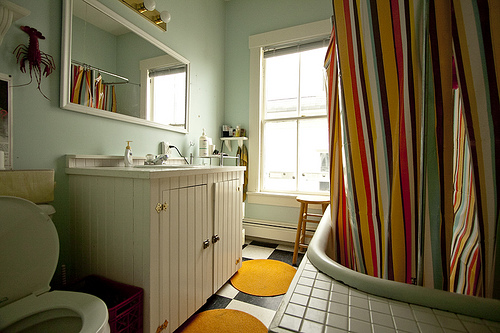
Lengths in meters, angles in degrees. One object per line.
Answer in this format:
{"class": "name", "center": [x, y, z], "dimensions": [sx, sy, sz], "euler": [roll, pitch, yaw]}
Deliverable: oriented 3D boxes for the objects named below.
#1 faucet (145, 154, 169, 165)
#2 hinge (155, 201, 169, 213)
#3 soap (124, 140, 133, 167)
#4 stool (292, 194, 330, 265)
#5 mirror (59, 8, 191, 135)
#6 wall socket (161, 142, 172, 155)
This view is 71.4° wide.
{"class": "faucet", "center": [-0.694, -0.056, 2.614], "dimensions": [0.120, 0.056, 0.087], "euler": [5, 2, 26]}
{"class": "hinge", "center": [-0.532, 0.241, 2.090], "dimensions": [0.010, 0.048, 0.071], "euler": [4, 6, 28]}
{"class": "soap", "center": [-0.885, -0.102, 2.531], "dimensions": [0.064, 0.184, 0.251], "euler": [-4, 12, -19]}
{"class": "stool", "center": [0.569, 0.569, 3.336], "dimensions": [0.337, 0.643, 0.399], "euler": [1, 1, 19]}
{"class": "mirror", "center": [-0.952, -0.718, 2.582], "dimensions": [0.046, 0.689, 1.156], "euler": [-1, -3, 24]}
{"class": "wall socket", "center": [-0.711, -0.163, 3.016], "dimensions": [0.082, 0.106, 0.105], "euler": [0, -4, 4]}
